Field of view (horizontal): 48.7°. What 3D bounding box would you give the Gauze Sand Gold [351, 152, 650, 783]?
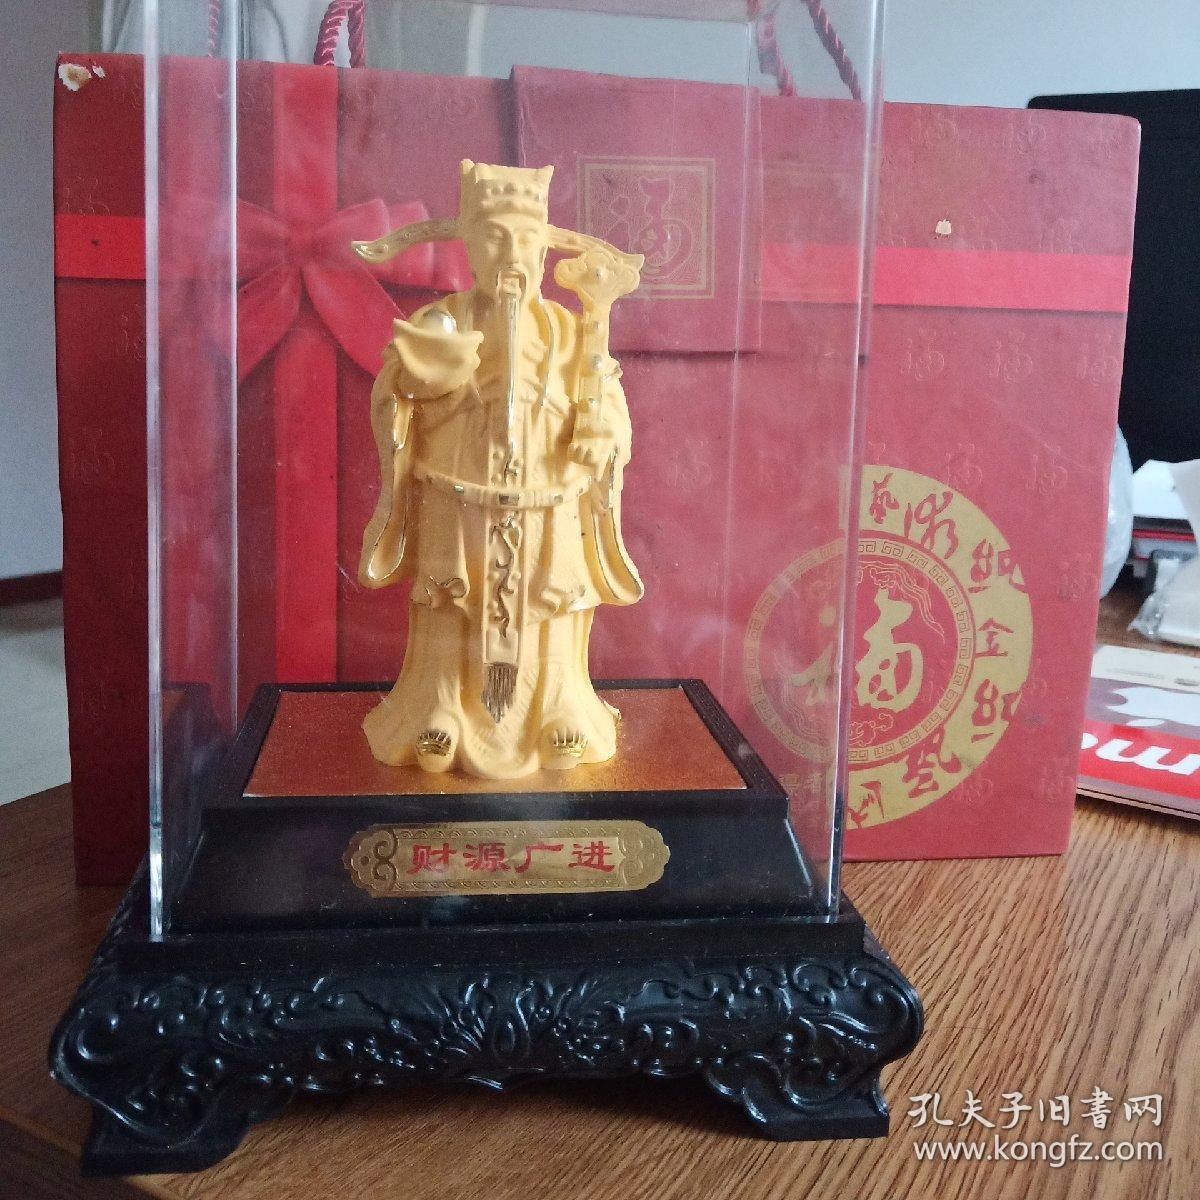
[{"bbox_3d":[-0.083,-0.115,1.182,0.256,0.518,0.161,-1,13,-12],"label":"Gauze Sand Gold"}]
